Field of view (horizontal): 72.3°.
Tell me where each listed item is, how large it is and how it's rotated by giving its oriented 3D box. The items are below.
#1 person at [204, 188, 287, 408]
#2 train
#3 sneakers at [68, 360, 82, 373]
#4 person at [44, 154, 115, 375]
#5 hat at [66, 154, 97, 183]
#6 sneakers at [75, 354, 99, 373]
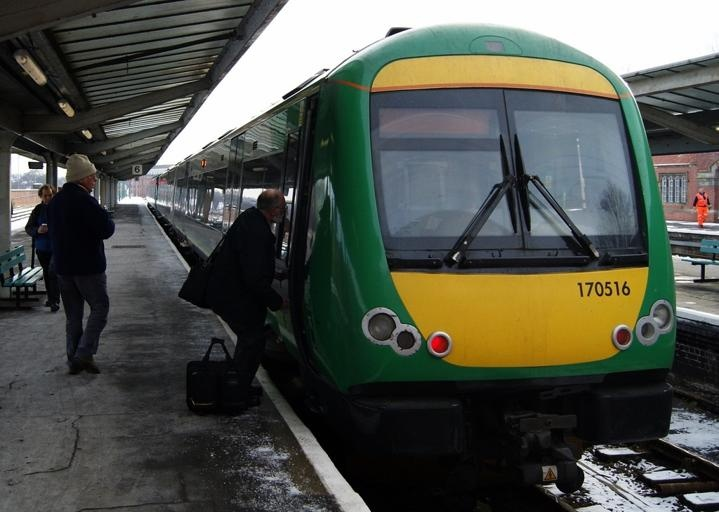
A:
[{"bbox_3d":[-1.065,0.394,4.942,0.907,2.116,0.857,-9,21,-35],"label":"person"},{"bbox_3d":[0.690,0.071,4.346,3.636,4.374,1.996,3,6,30],"label":"train"},{"bbox_3d":[-3.176,1.257,5.563,0.152,0.156,0.157,0,-7,-6],"label":"sneakers"},{"bbox_3d":[-3.012,0.128,5.440,0.722,2.485,0.439,2,5,26],"label":"person"},{"bbox_3d":[-3.035,-0.967,5.436,0.337,0.266,0.330,-24,16,-24],"label":"hat"},{"bbox_3d":[-3.056,1.250,5.585,0.119,0.162,0.340,-32,-27,10],"label":"sneakers"}]
